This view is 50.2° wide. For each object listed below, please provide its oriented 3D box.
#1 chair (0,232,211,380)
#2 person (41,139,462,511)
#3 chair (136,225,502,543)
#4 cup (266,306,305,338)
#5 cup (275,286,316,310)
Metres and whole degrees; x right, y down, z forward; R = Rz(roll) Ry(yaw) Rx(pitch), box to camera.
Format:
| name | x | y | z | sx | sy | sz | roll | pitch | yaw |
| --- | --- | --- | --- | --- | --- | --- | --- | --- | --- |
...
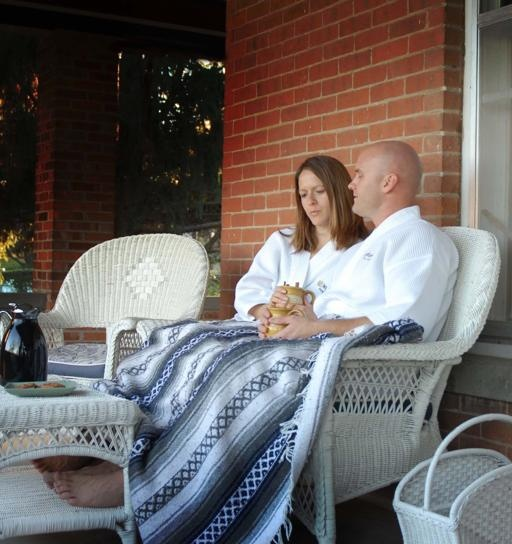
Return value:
| name | x | y | z | sx | sy | sz | roll | pitch | yaw |
| --- | --- | --- | --- | --- | --- | --- | --- | --- | --- |
| chair | -0.878 | 0.087 | 2.764 | 0.837 | 0.924 | 0.779 | 3 | -3 | 21 |
| person | -0.021 | 0.019 | 2.201 | 1.630 | 1.194 | 0.768 | 2 | -3 | -11 |
| chair | 0.214 | 0.269 | 1.879 | 0.864 | 0.956 | 0.735 | 3 | -4 | -20 |
| cup | 0.077 | 0.154 | 1.769 | 0.135 | 0.117 | 0.076 | 11 | -19 | -4 |
| cup | 0.137 | 0.093 | 1.903 | 0.120 | 0.072 | 0.074 | 1 | -1 | -14 |
